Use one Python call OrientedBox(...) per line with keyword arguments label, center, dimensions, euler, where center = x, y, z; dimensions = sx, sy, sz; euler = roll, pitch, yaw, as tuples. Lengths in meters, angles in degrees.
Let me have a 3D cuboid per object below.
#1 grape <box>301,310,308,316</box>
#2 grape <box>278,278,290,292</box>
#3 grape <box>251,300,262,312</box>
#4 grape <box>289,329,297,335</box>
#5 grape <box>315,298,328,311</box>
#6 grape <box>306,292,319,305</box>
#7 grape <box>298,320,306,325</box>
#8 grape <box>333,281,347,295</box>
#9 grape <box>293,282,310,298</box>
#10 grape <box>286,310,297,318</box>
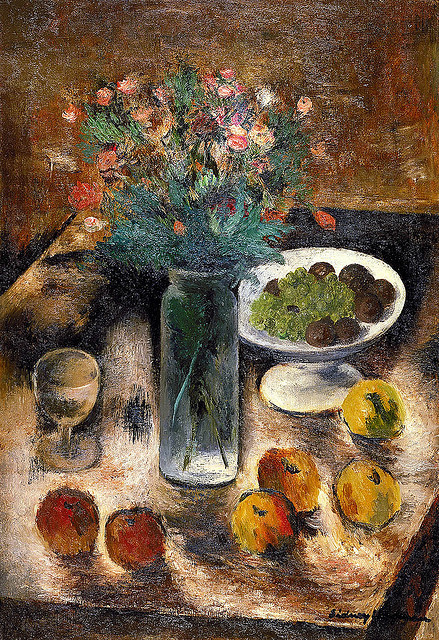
OrientedBox(label="grape", center=(0.226, -0.019, 2.276), dimensions=(0.017, 0.014, 0.006), euler=(2, -3, -7))
OrientedBox(label="grape", center=(0.174, -0.091, 2.286), dimensions=(0.034, 0.034, 0.010), euler=(-2, -4, 14))
OrientedBox(label="grape", center=(0.101, -0.036, 2.291), dimensions=(0.026, 0.017, 0.027), euler=(4, -32, -8))
OrientedBox(label="grape", center=(0.196, 0.032, 2.288), dimensions=(0.020, 0.015, 0.008), euler=(2, 8, -4))
OrientedBox(label="grape", center=(0.271, -0.040, 2.270), dimensions=(0.030, 0.031, 0.017), euler=(-30, -7, 1))
OrientedBox(label="grape", center=(0.245, -0.057, 2.270), dimensions=(0.030, 0.030, 0.009), euler=(3, 8, 5))
OrientedBox(label="grape", center=(0.220, 0.006, 2.281), dimensions=(0.015, 0.010, 0.004), euler=(-2, 9, -30))
OrientedBox(label="grape", center=(0.323, -0.087, 2.290), dimensions=(0.035, 0.011, 0.030), euler=(38, 56, 25))
OrientedBox(label="grape", center=(0.217, -0.077, 2.271), dimensions=(0.036, 0.036, 0.012), euler=(-9, -10, 6))
OrientedBox(label="grape", center=(0.192, -0.015, 2.273), dimensions=(0.017, 0.005, 0.016), euler=(11, 46, 10))
